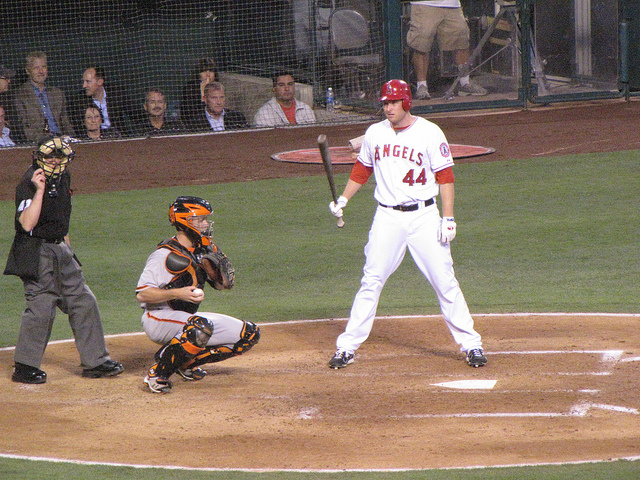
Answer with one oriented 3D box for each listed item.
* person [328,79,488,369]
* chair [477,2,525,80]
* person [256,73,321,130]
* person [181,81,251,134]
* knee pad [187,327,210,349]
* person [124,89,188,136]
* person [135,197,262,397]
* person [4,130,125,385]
[{"bbox_3d":[0.755,-0.129,11.946,1.420,2.824,0.743,-4,15,4],"label":"person"},{"bbox_3d":[2.910,-3.360,20.748,0.783,1.309,0.557,-3,15,5],"label":"chair"},{"bbox_3d":[-0.511,-2.340,20.999,1.571,1.040,0.709,-4,21,-11],"label":"person"},{"bbox_3d":[-1.733,-2.137,19.814,1.292,0.626,0.571,-7,20,-42],"label":"person"},{"bbox_3d":[-1.119,0.944,11.430,0.193,0.214,0.059,-5,15,-4],"label":"knee pad"},{"bbox_3d":[-2.578,-2.059,20.073,1.243,0.559,0.472,0,9,10],"label":"person"},{"bbox_3d":[-1.227,0.537,11.632,1.082,1.836,0.686,-8,15,-13],"label":"person"},{"bbox_3d":[-2.562,0.209,11.782,1.003,2.385,0.601,-8,15,-12],"label":"person"}]
